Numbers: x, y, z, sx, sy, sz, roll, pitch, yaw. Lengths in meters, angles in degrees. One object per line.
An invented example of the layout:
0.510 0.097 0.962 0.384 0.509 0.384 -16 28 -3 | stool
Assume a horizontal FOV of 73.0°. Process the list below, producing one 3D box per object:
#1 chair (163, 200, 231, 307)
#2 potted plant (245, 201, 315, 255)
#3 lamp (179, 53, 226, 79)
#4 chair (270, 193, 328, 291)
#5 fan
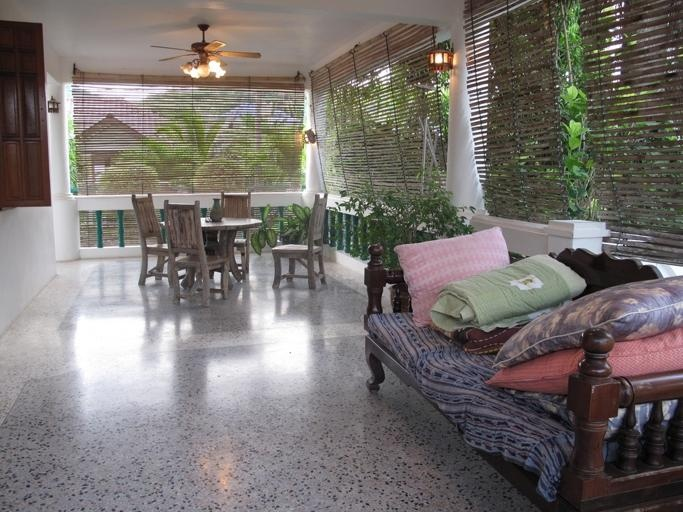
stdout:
-1.409 -0.089 5.295 0.734 1.188 0.635 -24 14 -29 | chair
-0.978 -0.412 8.017 1.256 0.844 0.480 -10 -22 16 | potted plant
-1.604 -2.251 5.447 0.484 0.245 0.218 4 12 19 | lamp
-0.555 -0.262 6.300 0.693 1.208 1.362 0 11 -2 | chair
-1.558 -2.495 5.435 1.102 0.439 1.192 -6 14 -23 | fan
